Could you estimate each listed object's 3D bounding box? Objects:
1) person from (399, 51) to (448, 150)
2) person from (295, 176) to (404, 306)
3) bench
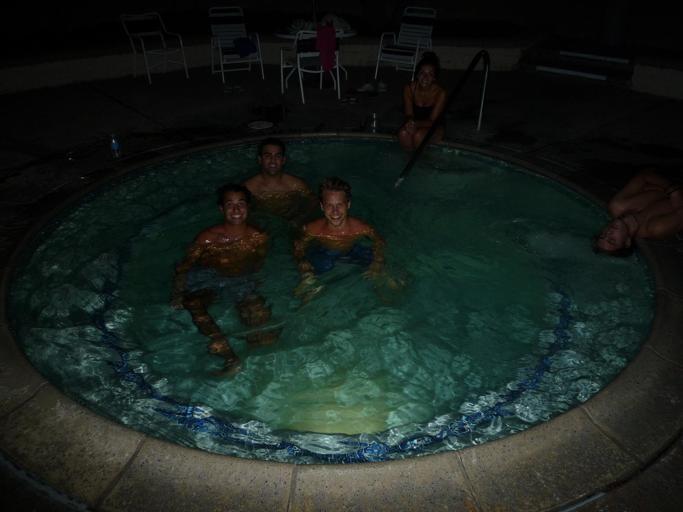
[{"bbox_3d":[1.163,-2.290,7.067,0.639,1.055,1.368,6,48,5],"label":"person"},{"bbox_3d":[0.050,-0.168,4.689,1.124,1.035,0.785,2,45,6],"label":"person"},{"bbox_3d":[4.774,-3.898,9.810,2.216,0.266,1.118,16,56,23],"label":"bench"}]
